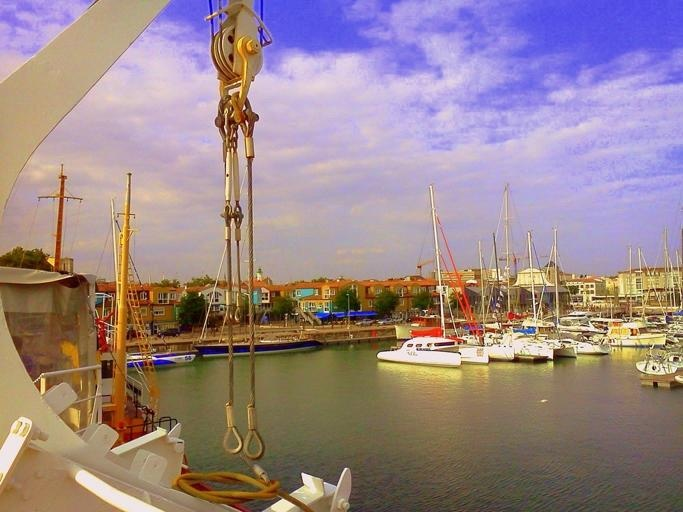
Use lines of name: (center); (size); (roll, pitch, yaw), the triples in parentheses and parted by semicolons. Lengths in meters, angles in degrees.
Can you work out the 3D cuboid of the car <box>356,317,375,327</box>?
car: (3.273, 8.886, 75.583); (1.828, 0.920, 1.131); (9, -15, -26)
